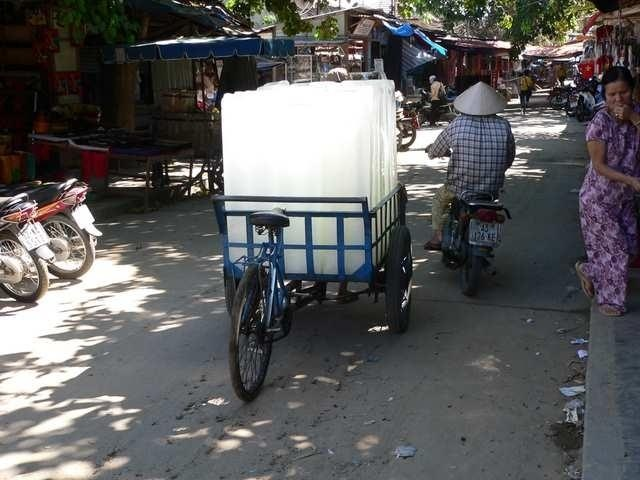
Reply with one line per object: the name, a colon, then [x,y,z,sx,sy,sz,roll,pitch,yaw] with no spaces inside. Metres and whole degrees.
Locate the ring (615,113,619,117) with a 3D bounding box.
ring: [2.281,-0.949,4.456,0.011,0.023,0.010,-13,-12,19]

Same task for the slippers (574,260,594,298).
slippers: [2.387,0.360,5.249,0.144,0.402,0.126,7,-18,-41]

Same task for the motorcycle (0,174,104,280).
motorcycle: [-3.489,-0.206,7.233,1.771,1.207,0.911,4,12,12]

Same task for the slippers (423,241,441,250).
slippers: [1.324,0.064,6.788,0.163,0.122,0.089,5,4,10]

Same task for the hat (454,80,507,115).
hat: [1.751,-1.500,6.428,0.430,0.212,0.459,-1,25,3]

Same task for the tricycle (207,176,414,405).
tricycle: [-0.193,0.280,4.994,1.511,1.431,2.820,0,10,18]

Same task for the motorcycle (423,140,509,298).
motorcycle: [1.664,-0.187,6.355,0.702,1.465,0.802,0,14,12]
